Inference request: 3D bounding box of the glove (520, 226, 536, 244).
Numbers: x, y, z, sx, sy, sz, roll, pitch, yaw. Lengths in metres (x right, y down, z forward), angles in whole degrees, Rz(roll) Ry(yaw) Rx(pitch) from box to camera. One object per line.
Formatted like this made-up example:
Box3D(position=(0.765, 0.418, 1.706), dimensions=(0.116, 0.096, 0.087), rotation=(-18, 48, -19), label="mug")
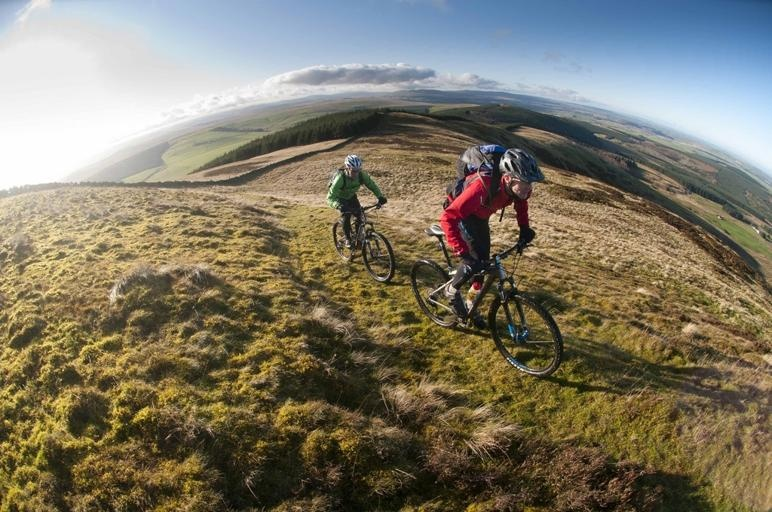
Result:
Box3D(position=(4.078, -0.536, 13.456), dimensions=(0.381, 0.659, 0.517), rotation=(8, 50, 15), label="glove")
